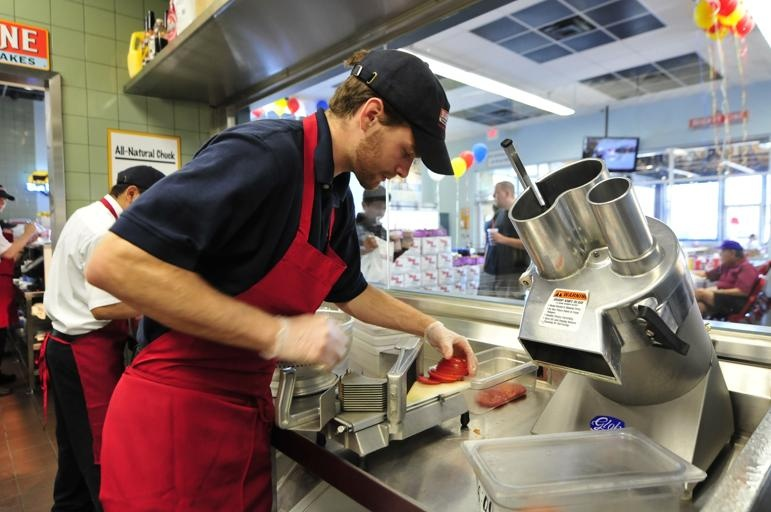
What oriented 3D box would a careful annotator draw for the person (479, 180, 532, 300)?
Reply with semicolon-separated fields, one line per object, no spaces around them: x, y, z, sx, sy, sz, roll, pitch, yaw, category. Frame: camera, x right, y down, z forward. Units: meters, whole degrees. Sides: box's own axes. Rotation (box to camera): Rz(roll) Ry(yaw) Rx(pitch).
0.823;-0.183;3.469;0.311;0.713;1.009;-1;5;14;person

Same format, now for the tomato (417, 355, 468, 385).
0.221;0.408;1.770;0.155;0.076;0.098;5;-9;-8;tomato

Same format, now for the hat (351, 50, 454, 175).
0.078;-0.473;1.638;0.407;0.221;0.285;40;12;-5;hat

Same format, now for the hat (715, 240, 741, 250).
1.544;-0.050;2.223;0.032;0.046;0.083;-4;5;-20;hat

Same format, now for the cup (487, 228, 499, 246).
0.796;-0.150;3.739;0.099;0.126;0.108;2;1;0;cup

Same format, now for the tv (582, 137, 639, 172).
1.357;-0.612;3.003;0.310;0.233;0.277;0;5;26;tv
